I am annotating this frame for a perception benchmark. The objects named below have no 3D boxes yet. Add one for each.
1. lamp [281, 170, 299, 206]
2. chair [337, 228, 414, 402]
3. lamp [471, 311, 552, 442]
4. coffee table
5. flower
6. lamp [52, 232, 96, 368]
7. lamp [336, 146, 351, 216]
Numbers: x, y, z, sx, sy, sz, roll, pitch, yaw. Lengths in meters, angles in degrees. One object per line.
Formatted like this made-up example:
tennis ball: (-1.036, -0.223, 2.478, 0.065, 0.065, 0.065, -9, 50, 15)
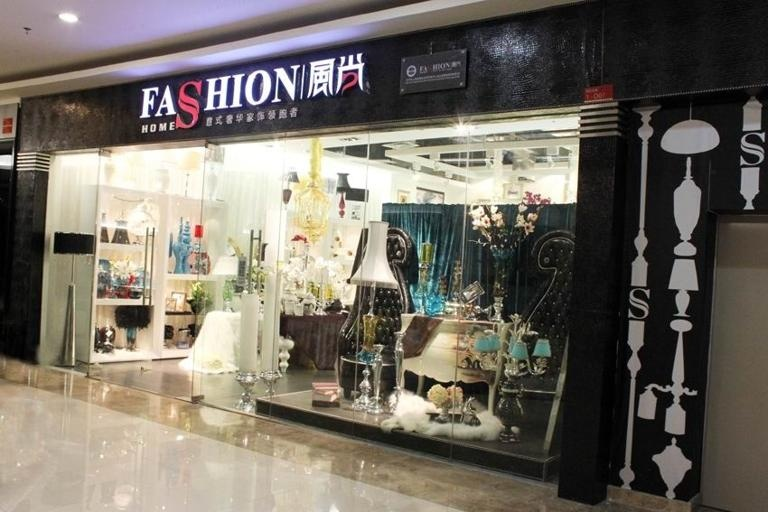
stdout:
lamp: (-1.065, -0.773, 6.544, 0.214, 0.389, 0.061, 5, 3, 36)
chair: (-0.051, 0.576, 5.911, 0.950, 1.623, 0.908, 3, 13, 34)
lamp: (1.251, 1.175, 5.602, 0.798, 1.154, 0.757, 9, -8, -10)
coffee table: (0.670, 1.059, 5.744, 1.103, 0.912, 0.429, 5, 4, 31)
flower: (1.154, -0.091, 5.549, 0.639, 0.864, 0.650, 13, -15, -28)
lamp: (-4.641, 0.655, 8.505, 0.760, 1.999, 0.302, 5, 2, 26)
lamp: (-0.451, -0.658, 6.212, 0.173, 0.488, 0.061, 5, 2, 33)
